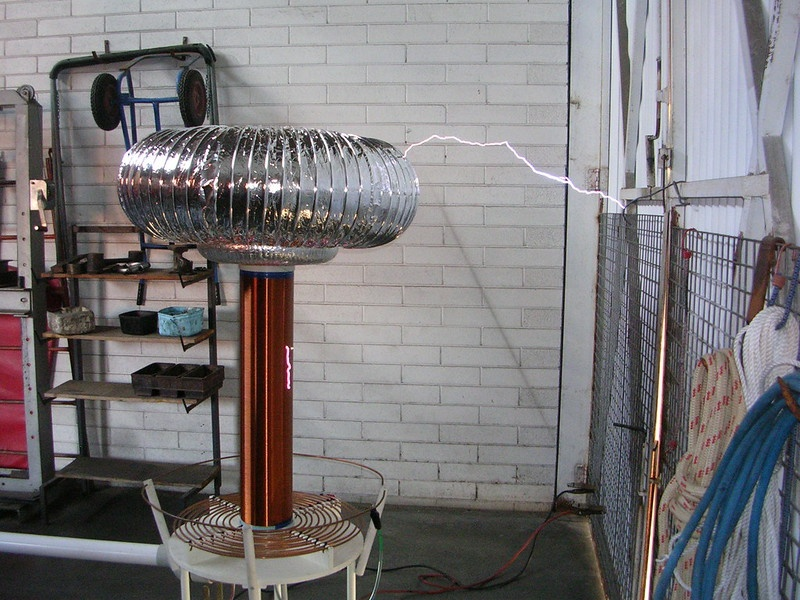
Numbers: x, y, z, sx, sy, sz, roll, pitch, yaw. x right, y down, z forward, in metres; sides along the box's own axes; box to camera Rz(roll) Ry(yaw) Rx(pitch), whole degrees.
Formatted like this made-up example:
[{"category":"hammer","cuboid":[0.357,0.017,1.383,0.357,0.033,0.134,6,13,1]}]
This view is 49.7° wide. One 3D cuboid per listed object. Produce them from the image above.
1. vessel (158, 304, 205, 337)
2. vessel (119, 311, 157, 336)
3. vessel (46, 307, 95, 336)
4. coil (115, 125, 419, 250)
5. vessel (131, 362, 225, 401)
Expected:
[{"category":"vessel","cuboid":[-1.055,0.094,4.177,0.138,0.085,0.185,1,5,4]},{"category":"vessel","cuboid":[-1.270,0.107,4.218,0.118,0.081,0.159,2,7,10]},{"category":"vessel","cuboid":[-1.583,0.097,4.143,0.151,0.092,0.150,-3,6,-28]},{"category":"coil","cuboid":[-0.351,-0.276,2.428,0.781,0.286,0.785,0,2,0]},{"category":"vessel","cuboid":[-1.078,0.377,4.115,0.298,0.092,0.215,3,5,11]}]
